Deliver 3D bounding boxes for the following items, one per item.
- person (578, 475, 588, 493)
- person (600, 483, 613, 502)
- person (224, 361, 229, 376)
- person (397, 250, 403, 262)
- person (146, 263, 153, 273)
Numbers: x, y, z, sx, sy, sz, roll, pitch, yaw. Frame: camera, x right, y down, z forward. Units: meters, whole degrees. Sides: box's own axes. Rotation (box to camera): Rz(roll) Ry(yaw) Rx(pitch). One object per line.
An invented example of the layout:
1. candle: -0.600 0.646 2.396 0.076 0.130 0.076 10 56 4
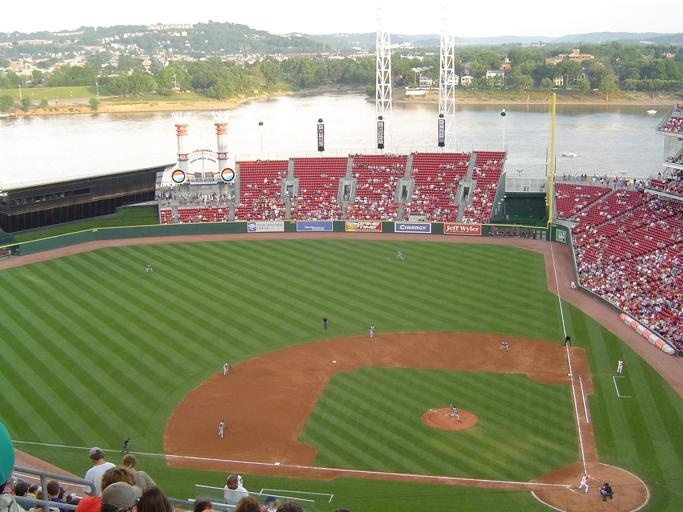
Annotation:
1. person: 13.429 12.418 44.925 0.573 0.620 1.023 3 15 17
2. person: 14.497 12.696 44.360 0.513 0.508 0.993 2 2 13
3. person: -8.025 7.694 56.314 0.383 0.665 1.117 -4 14 -7
4. person: 5.558 -0.001 78.571 0.653 0.791 0.764 -1 -3 8
5. person: -17.911 1.071 75.262 0.460 0.380 1.224 -19 21 -7
